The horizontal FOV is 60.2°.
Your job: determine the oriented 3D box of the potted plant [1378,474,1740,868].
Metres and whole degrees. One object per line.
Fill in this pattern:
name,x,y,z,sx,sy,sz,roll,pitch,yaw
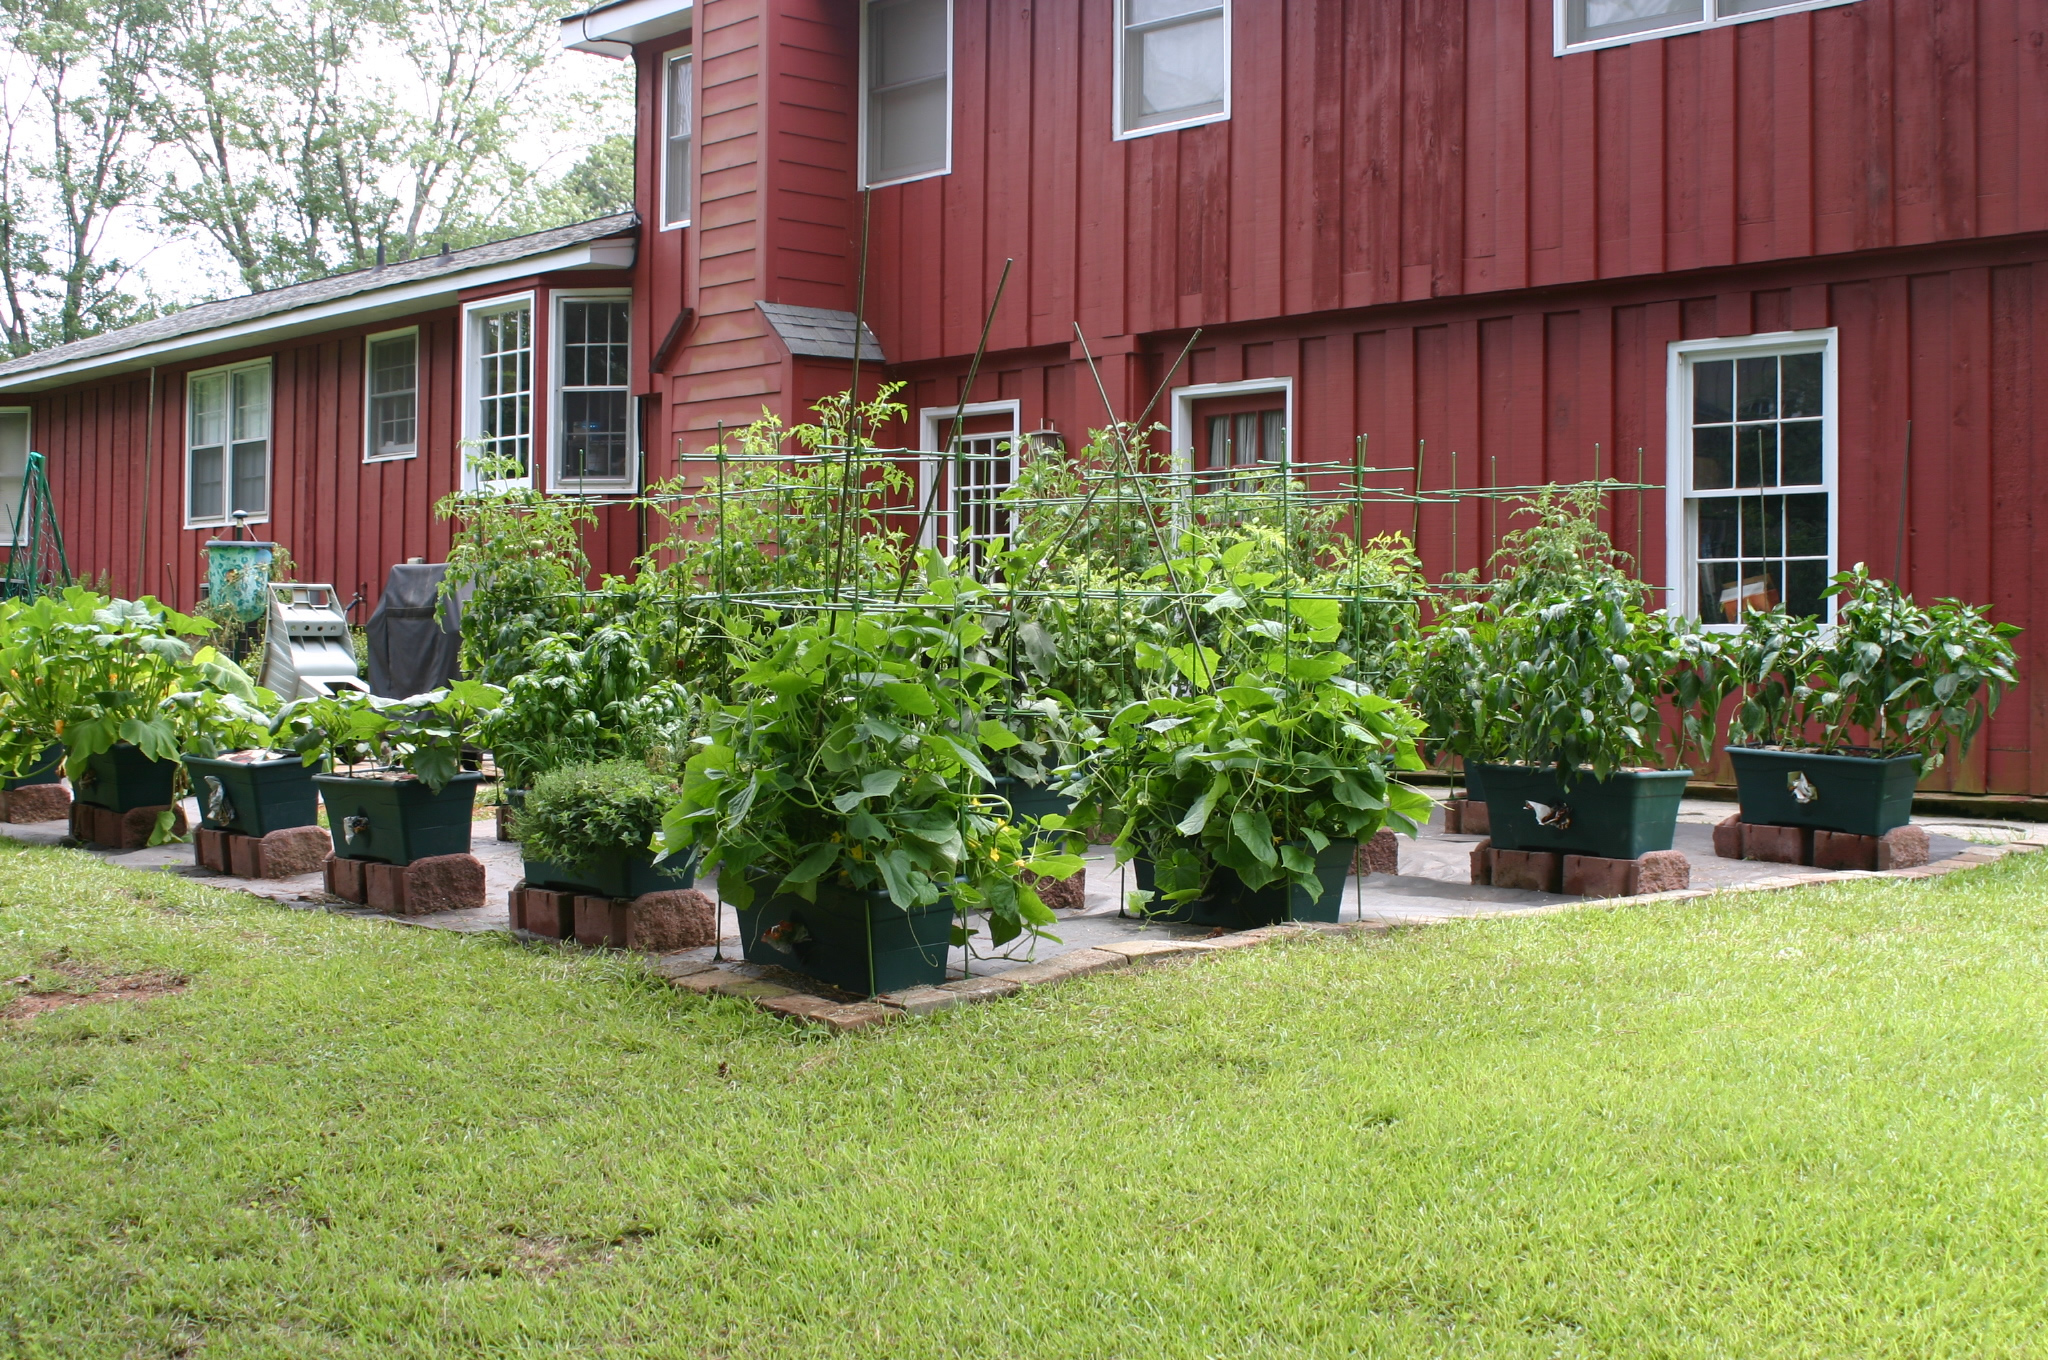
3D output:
potted plant,2.539,0.200,8.029,1.223,1.404,1.358,1,-5,19

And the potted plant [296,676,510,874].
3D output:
potted plant,-2.611,0.455,7.444,0.847,0.638,0.644,4,-2,41

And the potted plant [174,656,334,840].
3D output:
potted plant,-3.720,0.293,8.396,0.704,0.488,0.944,-2,1,-44

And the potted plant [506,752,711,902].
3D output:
potted plant,-1.467,0.548,6.743,0.741,0.518,0.804,-9,-8,1

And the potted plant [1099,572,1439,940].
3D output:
potted plant,0.871,0.289,6.882,1.299,1.134,1.287,1,-2,-40

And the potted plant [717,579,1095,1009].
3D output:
potted plant,-0.752,0.388,6.218,1.080,1.089,1.099,-6,15,-15

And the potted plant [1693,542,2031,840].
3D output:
potted plant,3.887,0.114,8.345,1.256,1.203,1.167,8,11,43

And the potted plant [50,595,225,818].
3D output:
potted plant,-4.513,0.145,8.679,0.957,0.869,0.858,1,-5,-7
